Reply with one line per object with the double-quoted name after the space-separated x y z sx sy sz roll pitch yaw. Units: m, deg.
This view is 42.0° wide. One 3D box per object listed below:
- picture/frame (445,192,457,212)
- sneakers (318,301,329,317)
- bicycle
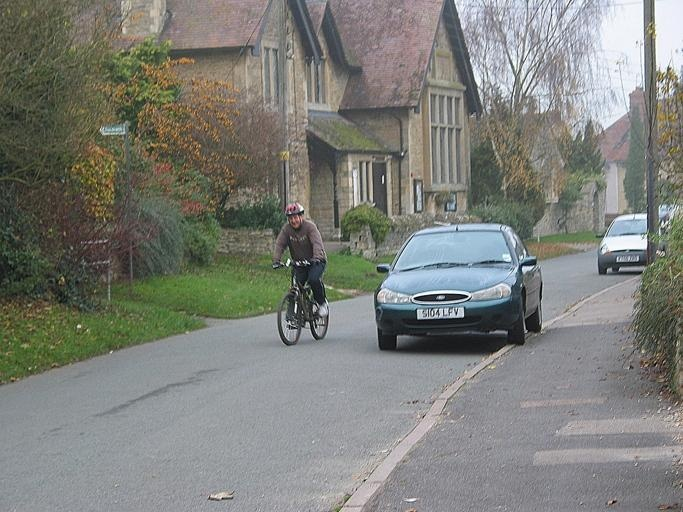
5.999 -3.015 49.294 0.116 1.644 1.075 2 3 29 "picture/frame"
-0.332 0.937 15.838 0.145 0.239 0.487 0 -9 3 "sneakers"
-0.743 0.784 15.365 0.443 1.451 1.572 -1 3 23 "bicycle"
